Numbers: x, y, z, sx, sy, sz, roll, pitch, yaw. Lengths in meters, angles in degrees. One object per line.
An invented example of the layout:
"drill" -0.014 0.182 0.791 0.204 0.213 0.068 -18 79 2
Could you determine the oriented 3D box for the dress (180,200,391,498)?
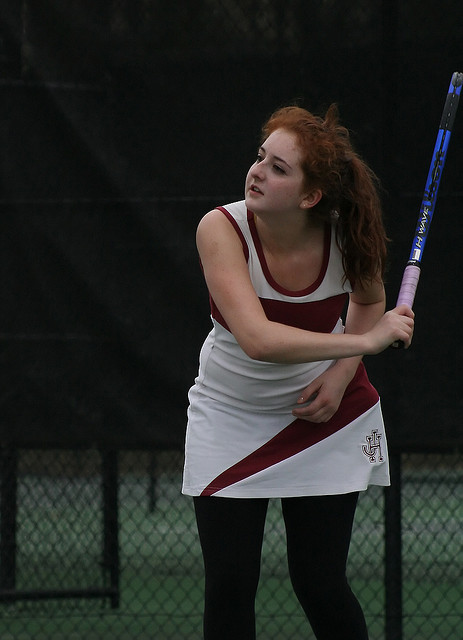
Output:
"dress" 0.072 0.109 1.964 0.582 0.822 0.228 -17 9 -8
